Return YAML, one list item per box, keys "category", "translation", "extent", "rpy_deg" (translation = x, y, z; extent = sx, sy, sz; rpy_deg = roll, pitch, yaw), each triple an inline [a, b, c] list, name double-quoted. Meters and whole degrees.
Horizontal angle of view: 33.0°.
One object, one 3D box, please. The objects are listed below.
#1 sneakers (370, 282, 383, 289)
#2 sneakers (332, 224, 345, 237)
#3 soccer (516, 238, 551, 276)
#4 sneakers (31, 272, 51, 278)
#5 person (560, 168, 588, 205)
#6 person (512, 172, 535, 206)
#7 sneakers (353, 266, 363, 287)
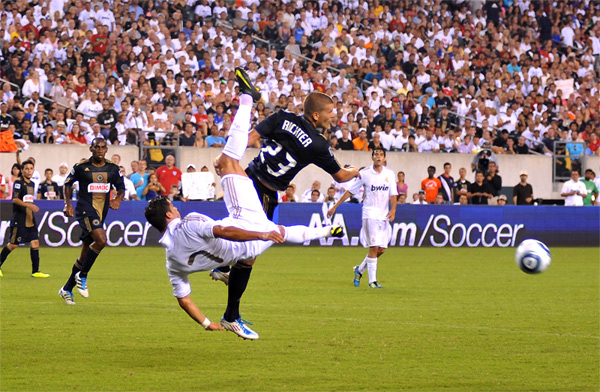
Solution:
- category: "sneakers"
  translation: [1.945, 2.296, 26.389]
  extent: [0.391, 0.260, 0.127]
  rpy_deg: [-4, 9, -1]
- category: "sneakers"
  translation: [0.784, 0.734, 21.617]
  extent: [0.208, 0.225, 0.261]
  rpy_deg: [15, -1, -8]
- category: "soccer"
  translation: [5.320, 1.263, 23.201]
  extent: [0.823, 0.887, 0.767]
  rpy_deg: [3, -43, 1]
- category: "sneakers"
  translation: [-6.937, 2.083, 26.874]
  extent: [0.499, 0.187, 0.184]
  rpy_deg: [1, 4, -8]
- category: "person"
  translation: [9.514, -0.280, 35.088]
  extent: [0.839, 1.185, 0.872]
  rpy_deg: [2, -2, -1]
- category: "person"
  translation: [7.725, -0.259, 35.016]
  extent: [0.648, 1.092, 0.600]
  rpy_deg: [2, -2, 8]
- category: "sneakers"
  translation: [1.478, 2.099, 26.525]
  extent: [0.291, 0.531, 0.199]
  rpy_deg: [4, 8, 19]
